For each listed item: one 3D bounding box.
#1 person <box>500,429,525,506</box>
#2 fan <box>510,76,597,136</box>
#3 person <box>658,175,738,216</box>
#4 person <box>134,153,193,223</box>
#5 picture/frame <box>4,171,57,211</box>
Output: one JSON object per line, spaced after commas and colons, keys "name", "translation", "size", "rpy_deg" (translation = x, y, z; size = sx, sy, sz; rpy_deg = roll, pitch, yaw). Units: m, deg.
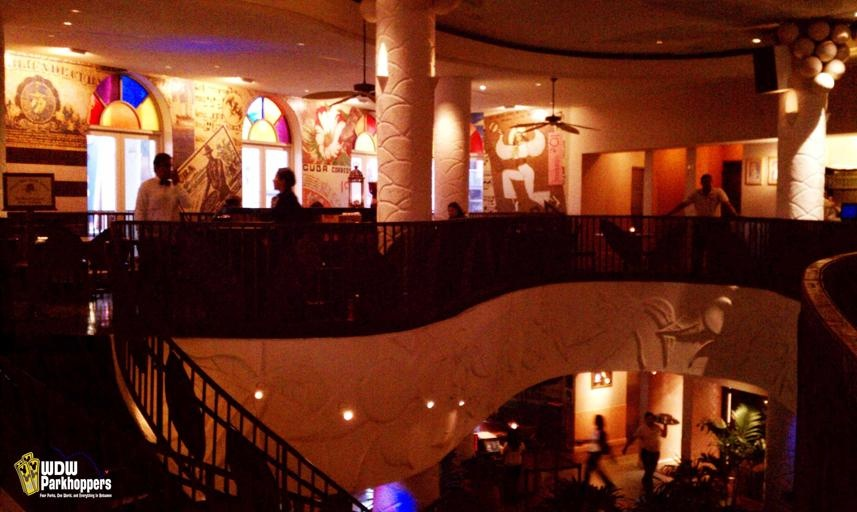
{"name": "person", "translation": [2.042, 5.073, 17.391], "size": [0.436, 1.667, 1.358], "rpy_deg": [0, 4, 6]}
{"name": "fan", "translation": [3.383, -4.271, 19.603], "size": [2.072, 1.382, 2.085], "rpy_deg": [16, 28, 38]}
{"name": "person", "translation": [7.256, -1.622, 18.903], "size": [1.490, 1.679, 0.552], "rpy_deg": [-2, 29, 6]}
{"name": "person", "translation": [-4.519, -1.154, 11.940], "size": [0.816, 1.090, 0.356], "rpy_deg": [-2, 4, -22]}
{"name": "picture/frame", "translation": [-6.988, -1.111, 12.337], "size": [0.757, 0.637, 0.077], "rpy_deg": [-2, -3, -17]}
